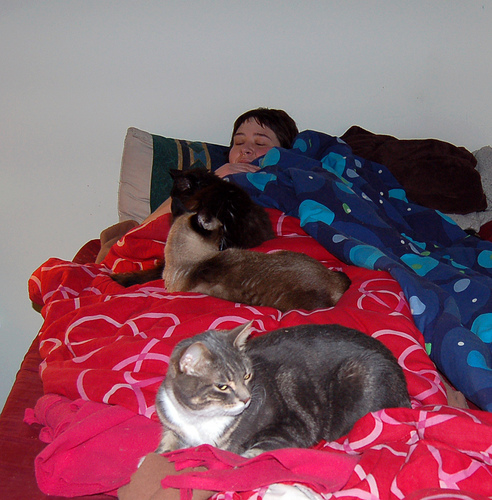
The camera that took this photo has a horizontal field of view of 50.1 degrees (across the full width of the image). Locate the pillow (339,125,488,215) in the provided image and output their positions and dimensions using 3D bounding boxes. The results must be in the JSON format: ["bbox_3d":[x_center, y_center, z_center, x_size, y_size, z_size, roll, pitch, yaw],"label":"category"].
[{"bbox_3d":[0.879,-0.416,2.701,0.665,0.143,0.394,17,46,18],"label":"pillow"}]

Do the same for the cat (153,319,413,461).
[{"bbox_3d":[0.077,0.302,1.138,0.466,0.159,0.324,-18,27,-35],"label":"cat"}]

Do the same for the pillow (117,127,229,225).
[{"bbox_3d":[-0.449,-0.416,2.738,0.629,0.159,0.521,7,79,-20],"label":"pillow"}]

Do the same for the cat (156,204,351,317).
[{"bbox_3d":[0.011,0.039,1.747,0.651,0.194,0.288,13,36,16],"label":"cat"}]

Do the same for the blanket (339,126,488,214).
[{"bbox_3d":[0.828,-0.396,2.734,0.699,0.147,0.397,11,44,12],"label":"blanket"}]

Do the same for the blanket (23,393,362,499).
[{"bbox_3d":[-0.191,0.414,1.100,0.400,0.047,0.292,0,4,-20],"label":"blanket"}]
